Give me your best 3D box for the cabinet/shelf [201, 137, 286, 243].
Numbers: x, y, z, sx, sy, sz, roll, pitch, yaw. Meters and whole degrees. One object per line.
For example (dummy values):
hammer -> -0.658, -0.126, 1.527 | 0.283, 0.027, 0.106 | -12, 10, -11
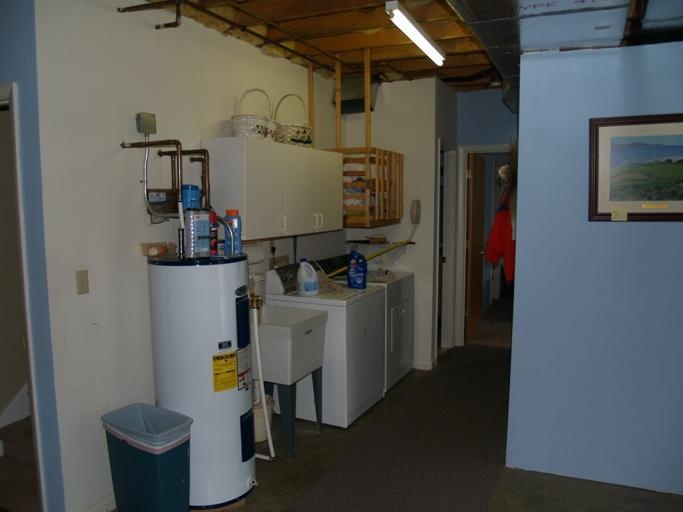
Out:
cabinet/shelf -> -0.685, -0.480, 4.047 | 0.590, 0.725, 0.340 | -1, 10, -15

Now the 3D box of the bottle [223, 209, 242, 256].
bottle -> -0.702, -0.145, 3.617 | 0.100, 0.270, 0.201 | -1, 10, -13

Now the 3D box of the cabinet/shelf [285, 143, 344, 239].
cabinet/shelf -> -0.136, -0.566, 4.726 | 0.707, 0.651, 0.247 | 9, 12, 39

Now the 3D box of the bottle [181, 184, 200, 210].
bottle -> -0.964, -0.371, 3.574 | 0.134, 0.150, 0.100 | -5, 12, -32

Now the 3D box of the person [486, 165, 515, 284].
person -> 1.488, -0.249, 5.152 | 0.260, 1.139, 0.836 | 4, 10, 15

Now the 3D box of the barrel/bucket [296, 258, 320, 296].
barrel/bucket -> -0.280, 0.177, 4.640 | 0.260, 0.400, 0.229 | 0, -6, -8

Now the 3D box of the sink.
sink -> -0.347, 0.623, 4.259 | 0.527, 0.512, 0.537 | 3, 4, 34

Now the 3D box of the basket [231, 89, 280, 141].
basket -> -0.684, -1.126, 4.396 | 0.331, 0.413, 0.765 | 0, 11, -7

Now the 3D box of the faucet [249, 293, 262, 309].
faucet -> -0.620, 0.325, 3.884 | 0.066, 0.123, 0.118 | -1, -1, 15

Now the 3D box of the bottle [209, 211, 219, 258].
bottle -> -0.817, -0.140, 3.568 | 0.046, 0.281, 0.078 | -1, 10, -14

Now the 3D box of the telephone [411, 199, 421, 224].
telephone -> 0.770, -0.440, 5.769 | 0.114, 0.265, 0.103 | 2, 10, 7
